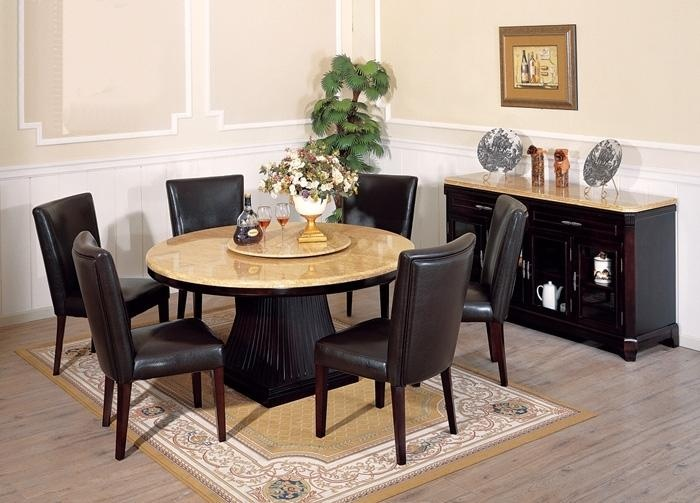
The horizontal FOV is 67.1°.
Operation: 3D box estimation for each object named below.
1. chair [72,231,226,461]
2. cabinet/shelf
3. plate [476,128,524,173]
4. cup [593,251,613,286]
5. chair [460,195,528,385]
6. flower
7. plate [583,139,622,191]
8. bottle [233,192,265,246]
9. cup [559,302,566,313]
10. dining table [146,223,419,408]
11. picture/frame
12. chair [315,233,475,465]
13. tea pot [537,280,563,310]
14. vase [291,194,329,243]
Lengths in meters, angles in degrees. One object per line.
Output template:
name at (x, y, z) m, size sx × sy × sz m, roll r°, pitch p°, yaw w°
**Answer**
chair at (-1.092, 0.493, 2.931) m, size 0.643 × 1.063 × 0.796 m, roll 9°, pitch 9°, yaw 41°
cabinet/shelf at (1.698, 0.034, 4.486) m, size 0.649 × 1.152 × 1.857 m, roll -16°, pitch 18°, yaw -30°
plate at (1.322, -0.887, 4.652) m, size 0.372 × 0.363 × 0.161 m, roll 5°, pitch 15°, yaw 22°
cup at (1.867, 0.126, 3.878) m, size 0.135 × 0.225 × 0.139 m, roll -1°, pitch 4°, yaw 0°
chair at (0.789, 0.265, 3.549) m, size 0.719 × 1.177 × 0.627 m, roll -2°, pitch 12°, yaw 3°
flower at (-0.322, -0.467, 3.359) m, size 0.320 × 0.222 × 0.400 m, roll -26°, pitch 12°, yaw -28°
plate at (1.902, -0.638, 3.985) m, size 0.068 × 0.355 × 0.291 m, roll 9°, pitch 17°, yaw -17°
bottle at (-0.649, -0.195, 3.325) m, size 0.213 × 0.311 × 0.131 m, roll -15°, pitch 27°, yaw -41°
cup at (1.649, 0.439, 4.076) m, size 0.058 × 0.043 × 0.057 m, roll -1°, pitch 7°, yaw 0°
dining table at (-0.499, 0.366, 3.192) m, size 1.212 × 0.633 × 1.200 m, roll -9°, pitch 15°, yaw -38°
picture/frame at (1.626, -1.573, 4.466) m, size 0.709 × 0.733 × 0.053 m, roll 16°, pitch 23°, yaw 40°
chair at (0.241, 0.471, 2.826) m, size 0.735 × 1.075 × 0.657 m, roll 5°, pitch 10°, yaw 35°
tea pot at (1.582, 0.343, 4.139) m, size 0.128 × 0.222 × 0.224 m, roll -3°, pitch 5°, yaw -38°
vase at (-0.278, -0.222, 3.439) m, size 0.301 × 0.343 × 0.259 m, roll -2°, pitch 8°, yaw -15°
